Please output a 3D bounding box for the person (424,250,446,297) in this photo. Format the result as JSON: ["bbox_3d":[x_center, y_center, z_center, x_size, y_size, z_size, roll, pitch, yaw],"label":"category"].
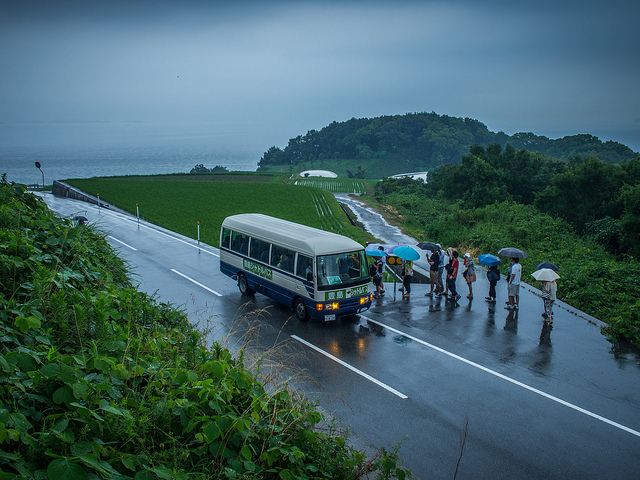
[{"bbox_3d":[4.585,1.310,18.301,0.722,1.959,0.834,6,13,24],"label":"person"}]

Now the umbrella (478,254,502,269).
[{"bbox_3d":[6.215,0.834,16.940,0.644,0.497,0.918,4,12,16],"label":"umbrella"}]

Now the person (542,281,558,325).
[{"bbox_3d":[8.003,1.990,16.017,0.443,1.543,1.610,7,13,28],"label":"person"}]

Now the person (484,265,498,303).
[{"bbox_3d":[6.491,1.597,17.380,0.418,1.662,1.300,5,12,21],"label":"person"}]

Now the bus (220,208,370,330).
[{"bbox_3d":[-1.261,0.879,17.568,2.272,2.991,6.758,-7,14,-39],"label":"bus"}]

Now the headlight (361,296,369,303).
[{"bbox_3d":[1.498,1.980,15.298,0.279,0.201,0.156,1,-7,-24],"label":"headlight"}]

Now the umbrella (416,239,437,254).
[{"bbox_3d":[5.735,0.361,24.869,0.834,0.634,0.868,-4,33,-9],"label":"umbrella"}]

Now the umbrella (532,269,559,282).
[{"bbox_3d":[7.361,1.218,15.024,0.771,0.495,0.478,-2,12,-11],"label":"umbrella"}]
